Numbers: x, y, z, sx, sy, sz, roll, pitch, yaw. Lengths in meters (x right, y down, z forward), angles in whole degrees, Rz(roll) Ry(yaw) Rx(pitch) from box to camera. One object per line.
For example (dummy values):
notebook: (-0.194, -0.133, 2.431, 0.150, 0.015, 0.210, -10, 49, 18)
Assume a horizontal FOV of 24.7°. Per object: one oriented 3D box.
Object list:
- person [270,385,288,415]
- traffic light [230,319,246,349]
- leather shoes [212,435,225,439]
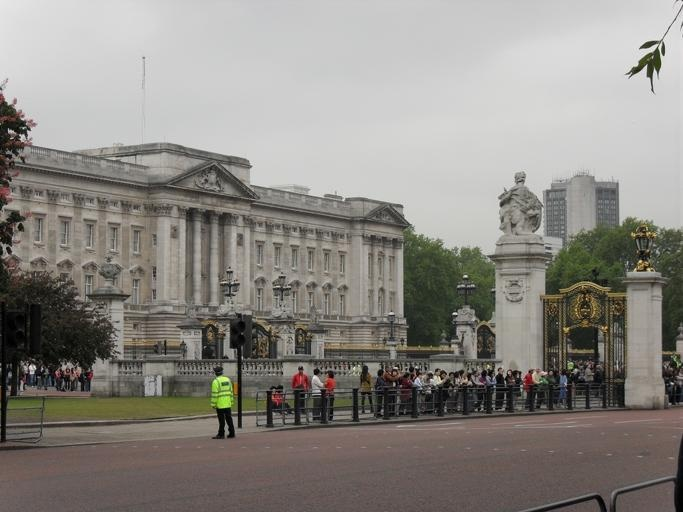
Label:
person: (-1.930, 4.363, 46.902, 0.712, 0.799, 1.174, -1, -3, 5)
traffic light: (-3.010, 2.190, 45.146, 0.426, 0.876, 0.694, 0, -10, -5)
leather shoes: (-3.324, 4.879, 41.962, 0.286, 0.112, 0.118, 7, 0, 4)
